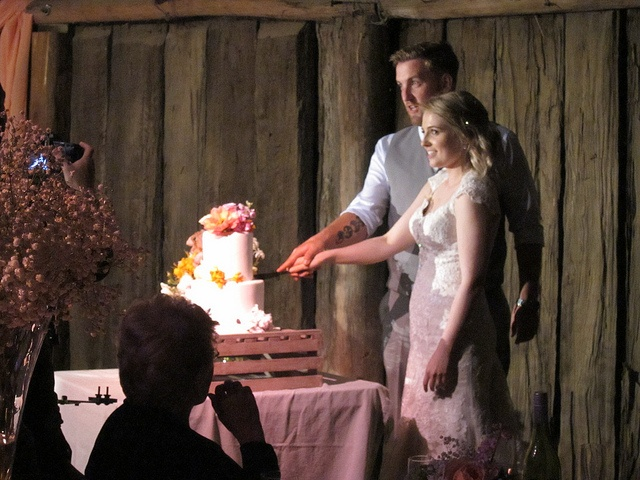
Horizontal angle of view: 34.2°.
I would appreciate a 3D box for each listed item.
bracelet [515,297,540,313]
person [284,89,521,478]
[{"bbox_3d":[1.011,0.317,5.119,0.077,0.064,0.064,-4,2,14],"label":"bracelet"},{"bbox_3d":[0.627,0.219,4.792,0.572,1.809,0.296,2,-2,9],"label":"person"}]
